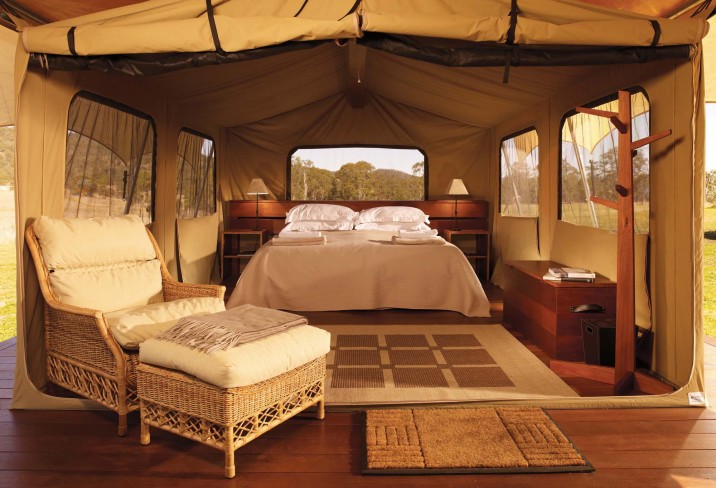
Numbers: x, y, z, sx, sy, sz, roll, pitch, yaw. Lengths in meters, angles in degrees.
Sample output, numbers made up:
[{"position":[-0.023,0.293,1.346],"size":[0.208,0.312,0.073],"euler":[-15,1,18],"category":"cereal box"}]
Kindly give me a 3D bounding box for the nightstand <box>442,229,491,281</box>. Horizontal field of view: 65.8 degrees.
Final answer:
[{"position":[1.818,0.096,8.633],"size":[1.055,0.869,0.738],"euler":[0,4,0],"category":"nightstand"}]

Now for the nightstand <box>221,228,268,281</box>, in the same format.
[{"position":[-1.653,0.268,8.481],"size":[0.699,0.895,0.774],"euler":[1,3,-16],"category":"nightstand"}]

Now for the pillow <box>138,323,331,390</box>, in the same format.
[{"position":[-0.762,0.741,3.929],"size":[0.942,0.192,1.023],"euler":[2,6,36],"category":"pillow"}]

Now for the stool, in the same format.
[{"position":[-0.606,1.100,4.282],"size":[1.184,0.674,1.607],"euler":[-3,1,45],"category":"stool"}]

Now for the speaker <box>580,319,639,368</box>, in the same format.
[{"position":[2.027,0.767,4.590],"size":[0.407,0.437,0.448],"euler":[1,0,11],"category":"speaker"}]

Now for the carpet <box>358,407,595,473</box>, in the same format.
[{"position":[0.764,1.315,3.750],"size":[1.421,0.216,0.588],"euler":[0,3,-1],"category":"carpet"}]
